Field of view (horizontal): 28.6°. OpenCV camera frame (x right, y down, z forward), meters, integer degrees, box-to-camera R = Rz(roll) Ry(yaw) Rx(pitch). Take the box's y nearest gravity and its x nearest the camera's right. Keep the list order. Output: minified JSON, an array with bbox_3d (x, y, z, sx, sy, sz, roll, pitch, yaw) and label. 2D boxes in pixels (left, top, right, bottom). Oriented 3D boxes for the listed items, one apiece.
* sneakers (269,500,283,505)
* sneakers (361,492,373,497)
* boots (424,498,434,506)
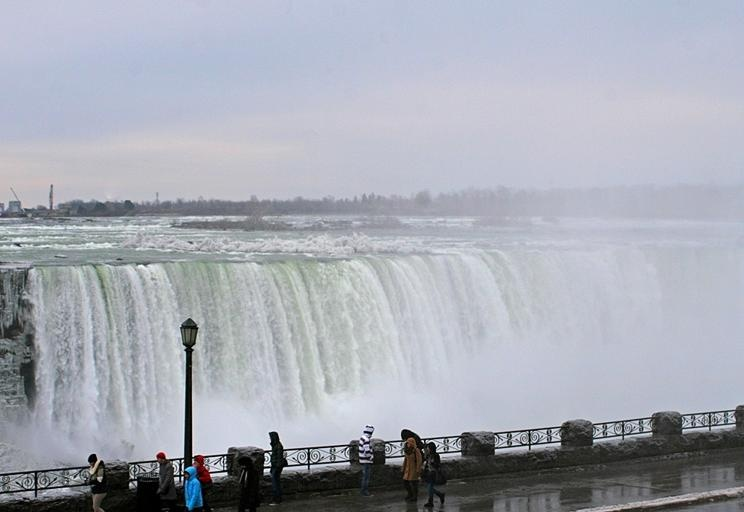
[{"bbox_3d":[-3.258,8.303,49.197,0.442,0.147,0.133,6,-10,-11],"label":"sneakers"},{"bbox_3d":[-0.192,8.114,49.725,0.406,0.133,0.128,0,-1,0],"label":"sneakers"},{"bbox_3d":[1.893,8.205,48.871,0.336,0.314,0.362,-7,0,-1],"label":"boots"}]
